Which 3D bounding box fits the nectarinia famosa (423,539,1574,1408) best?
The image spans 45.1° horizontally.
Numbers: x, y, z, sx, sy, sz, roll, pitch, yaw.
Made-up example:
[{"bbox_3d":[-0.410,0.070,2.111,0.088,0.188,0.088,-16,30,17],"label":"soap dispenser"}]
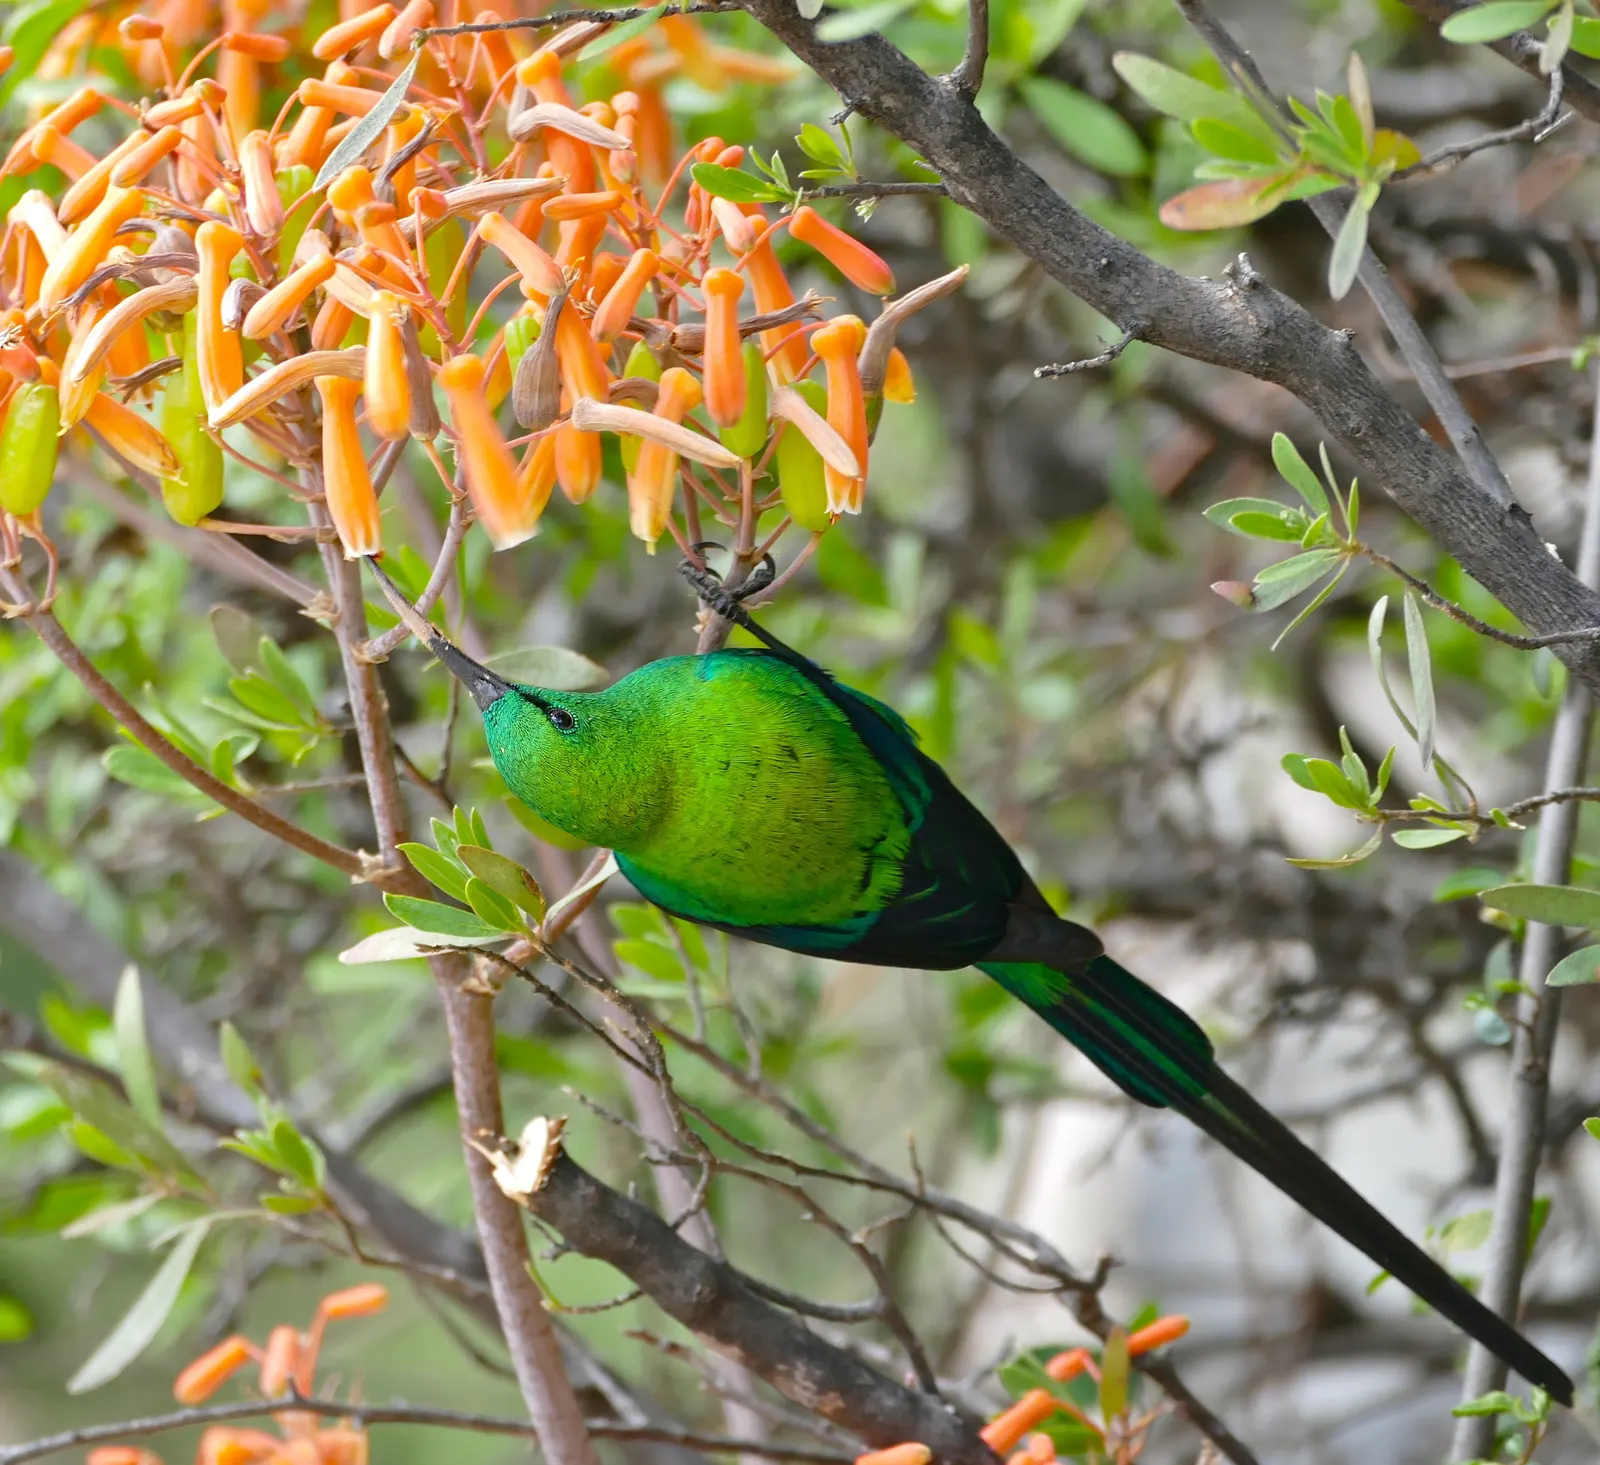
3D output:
[{"bbox_3d":[0.269,0.245,2.131,0.509,0.279,1.419,-18,45,-31],"label":"nectarinia famosa"}]
